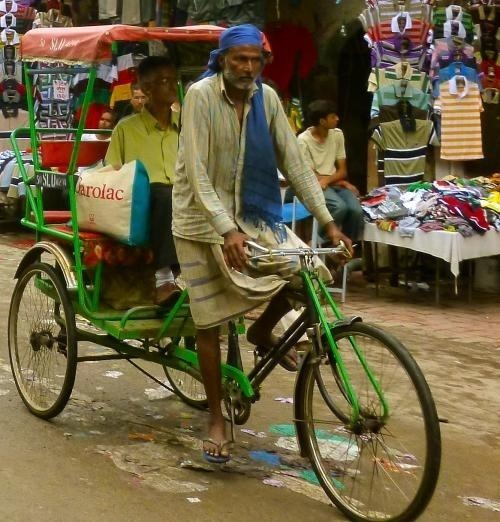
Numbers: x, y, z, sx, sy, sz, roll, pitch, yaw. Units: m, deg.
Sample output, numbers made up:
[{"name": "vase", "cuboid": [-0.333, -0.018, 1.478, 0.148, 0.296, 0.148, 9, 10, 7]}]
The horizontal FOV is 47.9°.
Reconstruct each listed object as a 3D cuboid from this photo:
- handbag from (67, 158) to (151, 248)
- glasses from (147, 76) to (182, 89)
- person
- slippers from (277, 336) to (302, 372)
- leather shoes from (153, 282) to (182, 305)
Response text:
[{"name": "handbag", "cuboid": [-0.707, -0.311, 2.958, 0.252, 0.417, 0.595, -6, 13, -44]}, {"name": "glasses", "cuboid": [-0.461, -0.960, 3.043, 0.074, 0.045, 0.098, -14, 18, -42]}, {"name": "person", "cuboid": [-0.013, -0.059, 2.269, 0.610, 1.754, 0.609, 2, 3, -31]}, {"name": "slippers", "cuboid": [0.168, 0.393, 2.364, 0.065, 0.150, 0.119, 12, 3, 5]}, {"name": "leather shoes", "cuboid": [-0.419, 0.164, 2.851, 0.189, 0.111, 0.068, -23, -24, 38]}]
